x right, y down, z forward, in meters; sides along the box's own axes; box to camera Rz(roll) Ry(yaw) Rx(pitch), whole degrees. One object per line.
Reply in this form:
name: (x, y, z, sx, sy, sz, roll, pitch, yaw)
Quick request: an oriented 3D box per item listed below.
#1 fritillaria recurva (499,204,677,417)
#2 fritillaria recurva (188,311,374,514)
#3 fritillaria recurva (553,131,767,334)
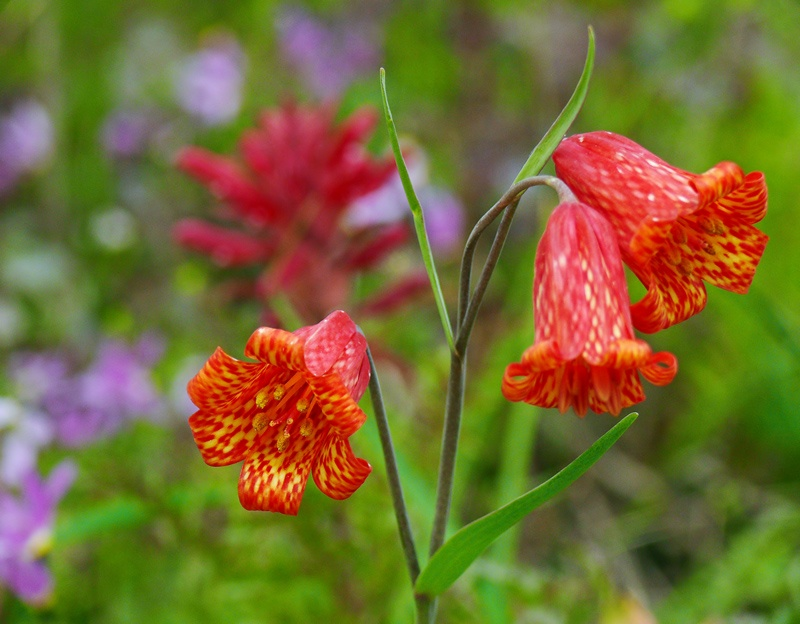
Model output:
fritillaria recurva: (0.300, -0.037, 1.575, 0.244, 0.421, 0.228, 10, -20, -27)
fritillaria recurva: (-0.185, 0.132, 1.618, 0.334, 0.377, 0.153, -21, -63, 14)
fritillaria recurva: (0.409, -0.121, 1.671, 0.352, 0.292, 0.228, 36, -34, 27)
